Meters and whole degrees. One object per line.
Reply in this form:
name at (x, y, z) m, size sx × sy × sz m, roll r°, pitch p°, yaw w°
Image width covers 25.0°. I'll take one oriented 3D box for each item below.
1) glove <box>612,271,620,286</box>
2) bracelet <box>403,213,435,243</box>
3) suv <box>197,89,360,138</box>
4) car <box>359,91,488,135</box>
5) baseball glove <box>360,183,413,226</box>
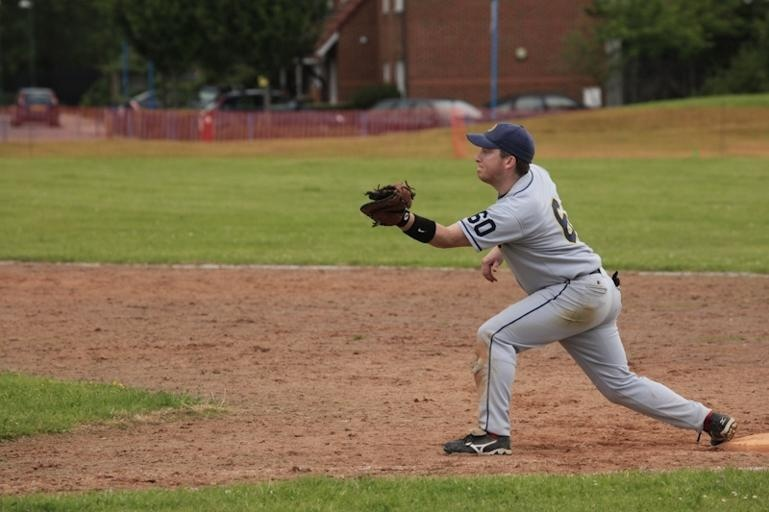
glove at (3.416, 0.320, 25.685) m, size 0.067 × 0.189 × 0.192 m, roll -15°, pitch 3°, yaw 37°
bracelet at (0.503, -0.407, 24.777) m, size 0.464 × 0.393 × 0.191 m, roll -1°, pitch 4°, yaw 1°
suv at (-1.861, -2.700, 33.193) m, size 0.998 × 0.920 × 5.005 m, roll 0°, pitch 4°, yaw 24°
car at (0.770, -3.248, 39.935) m, size 2.263 × 0.658 × 0.983 m, roll -6°, pitch 11°, yaw -20°
baseball glove at (0.000, -0.748, 24.851) m, size 0.681 × 0.298 × 0.681 m, roll -4°, pitch -2°, yaw 33°
